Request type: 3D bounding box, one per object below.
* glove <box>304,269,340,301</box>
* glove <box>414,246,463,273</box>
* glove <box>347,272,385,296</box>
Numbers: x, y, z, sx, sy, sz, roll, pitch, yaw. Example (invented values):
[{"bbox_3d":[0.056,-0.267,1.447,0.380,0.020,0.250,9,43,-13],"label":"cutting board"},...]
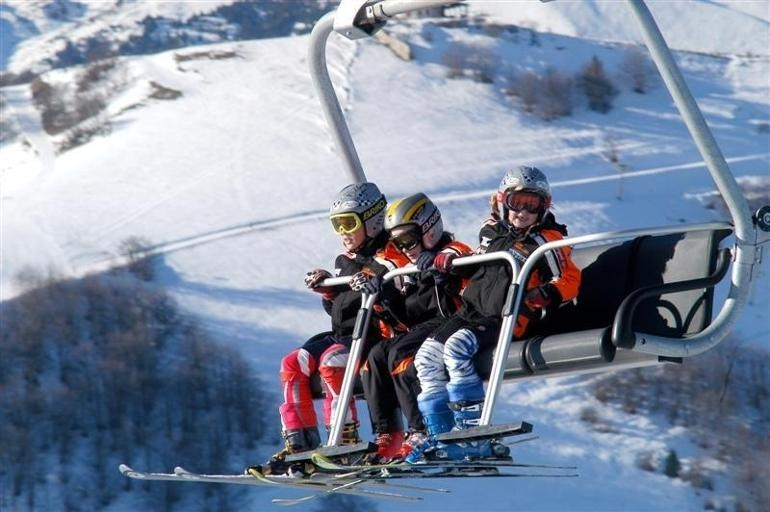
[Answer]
[{"bbox_3d":[-1.910,0.693,54.779,0.951,0.428,0.637,20,71,-19],"label":"glove"},{"bbox_3d":[1.459,-0.016,54.239,0.791,0.353,0.769,-6,21,32],"label":"glove"},{"bbox_3d":[-0.589,0.683,54.260,0.821,0.275,0.539,13,48,15],"label":"glove"}]
